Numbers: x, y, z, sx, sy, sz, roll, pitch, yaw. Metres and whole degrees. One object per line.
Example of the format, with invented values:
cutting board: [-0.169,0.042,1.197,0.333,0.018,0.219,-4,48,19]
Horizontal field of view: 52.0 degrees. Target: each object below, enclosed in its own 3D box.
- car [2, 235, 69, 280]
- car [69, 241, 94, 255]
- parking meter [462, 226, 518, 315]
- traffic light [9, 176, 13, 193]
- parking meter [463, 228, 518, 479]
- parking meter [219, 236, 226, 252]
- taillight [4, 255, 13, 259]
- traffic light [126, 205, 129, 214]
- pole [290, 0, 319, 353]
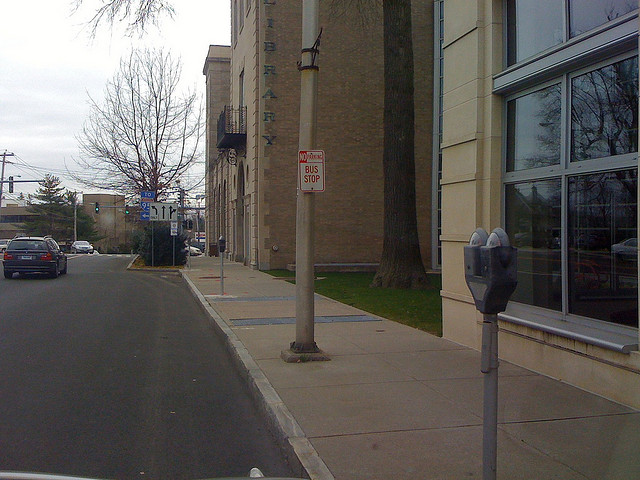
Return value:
car: [-11.154,0.615,25.854,1.342,1.146,3.036,0,2,-17]
car: [-25.465,0.557,69.776,1.662,1.498,4.050,0,-8,-32]
parking meter: [1.493,0.278,5.791,0.437,0.754,0.295,0,2,15]
traffic light: [-29.106,-5.202,61.715,0.260,1.325,1.526,-1,1,-30]
parking meter: [1.495,1.009,5.797,0.436,2.208,0.265,0,2,15]
parking meter: [-2.669,0.121,17.815,0.137,0.378,0.538,-1,1,-9]
taillight: [-11.509,0.617,24.241,0.290,0.139,0.231,-1,1,-13]
traffic light: [-12.197,-1.916,41.532,0.151,0.523,0.949,-1,1,-15]
pole: [-0.232,-0.952,9.901,0.418,5.293,0.517,0,2,-1]
